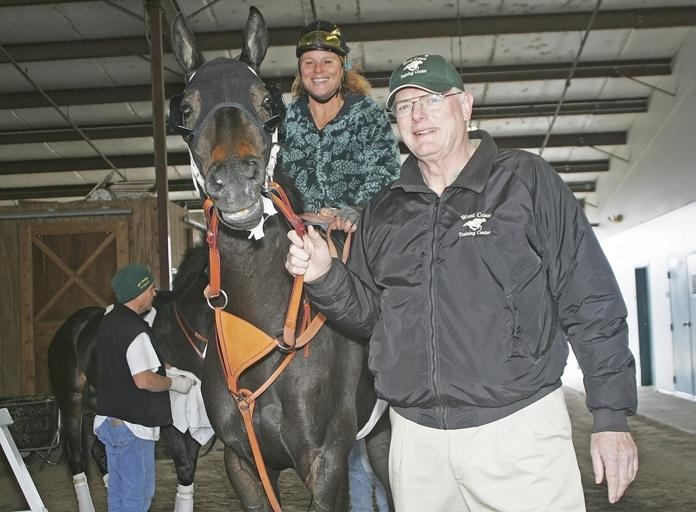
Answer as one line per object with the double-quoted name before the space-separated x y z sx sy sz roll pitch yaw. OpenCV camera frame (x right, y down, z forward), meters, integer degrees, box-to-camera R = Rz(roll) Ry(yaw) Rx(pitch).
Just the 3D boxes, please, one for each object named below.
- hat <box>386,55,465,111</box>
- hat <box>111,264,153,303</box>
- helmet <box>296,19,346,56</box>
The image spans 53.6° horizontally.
"hat" 0.464 -1.121 4.311 0.385 0.287 0.552 -7 4 26
"hat" -1.982 0.215 6.346 0.407 0.276 0.396 -21 25 -13
"helmet" -0.212 -1.742 5.412 0.379 0.268 0.508 0 10 -3
